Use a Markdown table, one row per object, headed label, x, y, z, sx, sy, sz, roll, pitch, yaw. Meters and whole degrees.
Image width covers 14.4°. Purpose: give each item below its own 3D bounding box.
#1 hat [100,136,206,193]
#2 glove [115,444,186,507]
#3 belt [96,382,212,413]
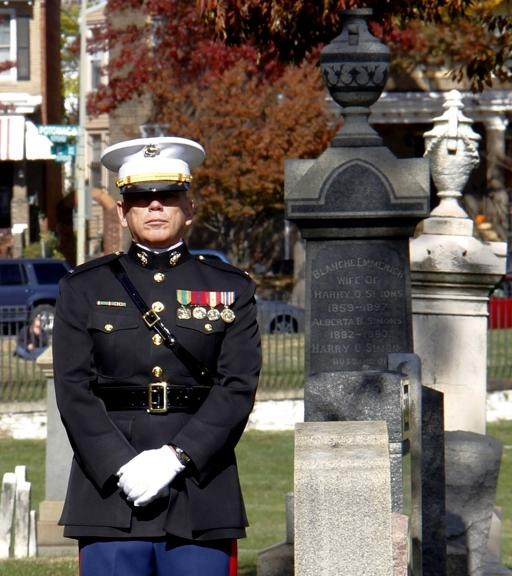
| label | x | y | z | sx | sy | sz | roll | pitch | yaw |
| --- | --- | --- | --- | --- | --- | --- | --- | --- | --- |
| hat | -0.700 | -0.844 | 13.753 | 0.734 | 0.359 | 0.751 | -4 | -4 | 20 |
| glove | -0.695 | 1.173 | 13.151 | 0.445 | 0.270 | 0.156 | -43 | -6 | -14 |
| belt | -0.693 | 0.694 | 13.333 | 0.736 | 0.207 | 0.119 | 0 | -2 | 7 |
